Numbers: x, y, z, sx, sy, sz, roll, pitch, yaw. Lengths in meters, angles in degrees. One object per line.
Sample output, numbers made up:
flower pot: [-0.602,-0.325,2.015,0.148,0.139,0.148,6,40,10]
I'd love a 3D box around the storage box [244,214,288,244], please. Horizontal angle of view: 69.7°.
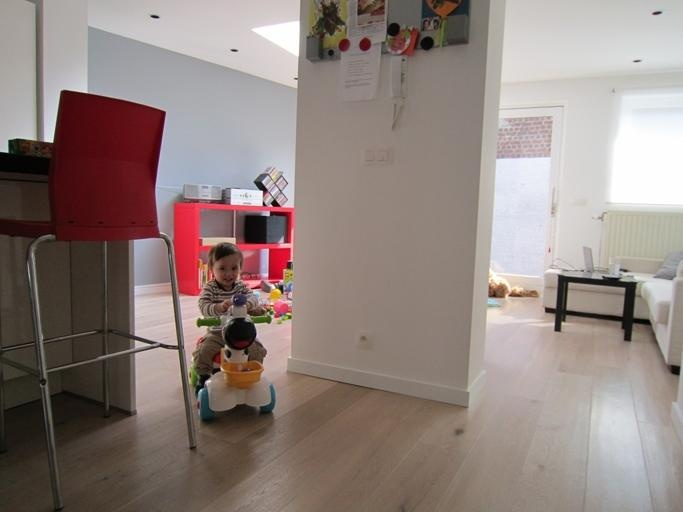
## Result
storage box: [-0.904,-0.284,5.851,0.363,0.297,0.378,1,2,28]

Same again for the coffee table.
coffee table: [2.147,0.389,4.187,0.563,0.458,0.800,5,7,28]

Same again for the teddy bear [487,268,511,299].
teddy bear: [1.789,0.353,5.567,0.237,0.229,0.337,4,6,21]

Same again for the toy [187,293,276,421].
toy: [-0.519,0.465,2.417,0.405,0.585,0.350,1,6,-8]

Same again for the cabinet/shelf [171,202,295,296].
cabinet/shelf: [-1.069,-0.119,4.776,0.307,0.774,0.985,2,4,34]

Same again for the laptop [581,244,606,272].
laptop: [2.710,0.025,5.265,0.186,0.203,0.278,-3,3,-13]

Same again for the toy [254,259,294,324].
toy: [-0.596,0.308,4.478,0.430,0.412,0.612,1,0,-19]
